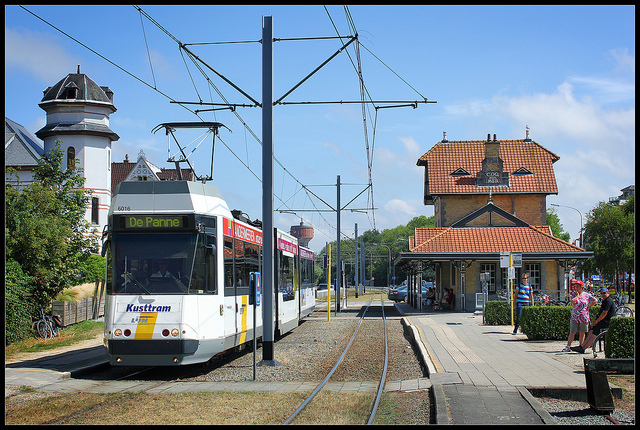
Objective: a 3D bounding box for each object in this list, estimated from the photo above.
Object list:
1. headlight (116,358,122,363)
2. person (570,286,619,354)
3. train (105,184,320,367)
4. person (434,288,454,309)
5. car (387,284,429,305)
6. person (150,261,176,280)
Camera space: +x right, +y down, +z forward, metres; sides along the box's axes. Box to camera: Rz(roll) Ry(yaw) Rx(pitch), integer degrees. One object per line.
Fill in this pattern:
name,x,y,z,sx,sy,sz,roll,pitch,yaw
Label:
headlight,-5.104,3.703,15.137,0.136,0.080,0.044,-6,3,4
person,8.262,3.230,17.871,0.821,1.901,1.105,0,-1,-23
train,-3.753,1.556,16.107,3.814,4.774,1.996,0,-1,-24
person,7.794,5.299,37.431,1.064,1.320,1.019,-1,-2,17
car,8.165,7.348,55.279,3.598,1.198,1.542,-1,0,-12
person,-4.052,1.452,15.475,0.809,0.583,0.379,1,-9,-3
